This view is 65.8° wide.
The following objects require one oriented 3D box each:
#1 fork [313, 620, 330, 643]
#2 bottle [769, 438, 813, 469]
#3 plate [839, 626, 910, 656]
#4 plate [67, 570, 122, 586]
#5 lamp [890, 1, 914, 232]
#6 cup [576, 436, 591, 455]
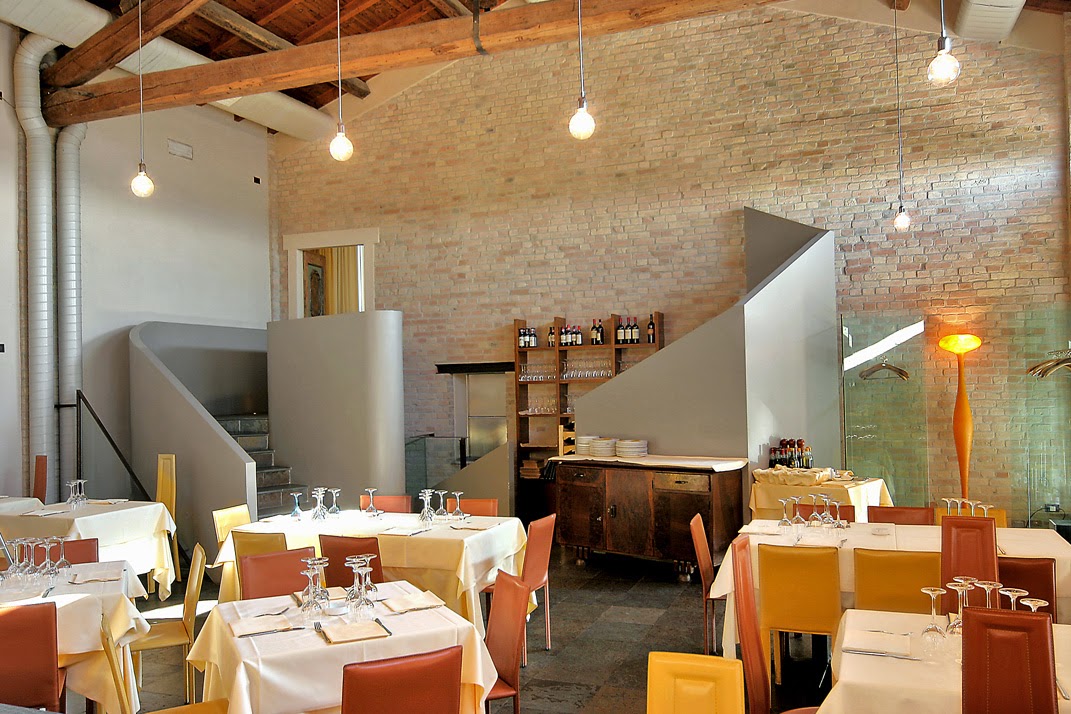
[{"bbox_3d":[-1.367,1.737,5.274,0.049,0.082,0.276,6,9,-29],"label":"fork"},{"bbox_3d":[2.917,1.086,9.471,0.322,0.435,0.401,1,-2,-40],"label":"bottle"},{"bbox_3d":[2.091,1.745,5.048,0.392,0.094,0.305,-3,-4,20],"label":"plate"},{"bbox_3d":[-3.266,1.641,6.173,0.361,0.047,0.305,0,-4,-21],"label":"plate"},{"bbox_3d":[4.683,-3.090,10.589,0.183,2.974,0.253,0,-3,-22],"label":"lamp"},{"bbox_3d":[0.578,1.050,9.842,0.181,0.144,0.182,1,-2,0],"label":"cup"}]
